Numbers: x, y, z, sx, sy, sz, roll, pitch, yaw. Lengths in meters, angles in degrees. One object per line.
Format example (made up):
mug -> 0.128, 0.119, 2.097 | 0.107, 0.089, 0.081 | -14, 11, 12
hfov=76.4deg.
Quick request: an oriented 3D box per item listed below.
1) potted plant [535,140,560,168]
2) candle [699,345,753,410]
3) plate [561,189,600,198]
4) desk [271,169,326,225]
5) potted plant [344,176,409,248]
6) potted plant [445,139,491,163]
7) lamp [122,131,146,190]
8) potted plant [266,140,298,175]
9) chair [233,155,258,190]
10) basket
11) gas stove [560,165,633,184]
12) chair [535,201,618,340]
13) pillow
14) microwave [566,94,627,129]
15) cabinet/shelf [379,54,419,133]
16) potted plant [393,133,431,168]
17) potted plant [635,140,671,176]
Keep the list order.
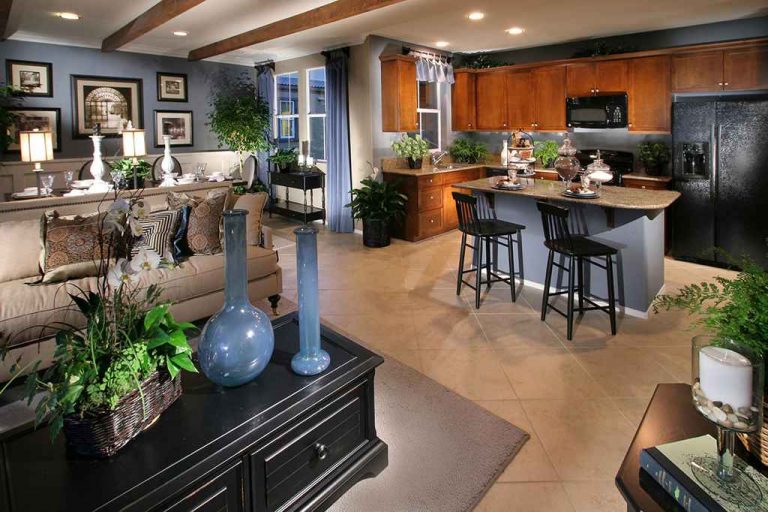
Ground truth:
potted plant -> 2.463, -1.506, 7.530 | 0.450, 0.533, 0.553 | 2, 7, 19
candle -> 1.270, 0.467, 1.826 | 0.184, 0.196, 0.180 | 1, 13, 1
plate -> 1.810, -0.585, 4.570 | 0.367, 0.062, 0.231 | 9, 17, 42
desk -> -1.553, -1.071, 8.480 | 0.440, 0.788, 1.140 | -14, 21, -43
potted plant -> -0.307, -0.668, 7.322 | 1.049, 1.004, 0.982 | -1, 5, -19
potted plant -> 1.425, -1.795, 8.319 | 0.678, 0.393, 0.438 | 0, 13, 11
lamp -> -3.150, -1.164, 6.159 | 0.331, 0.833, 0.325 | -6, 16, -29
potted plant -> -1.804, -1.722, 8.642 | 0.717, 0.467, 0.707 | -1, 2, -37
chair -> -2.474, -1.494, 8.639 | 0.382, 0.581, 0.765 | -6, 13, -16
basket -> -1.234, 0.668, 2.392 | 0.364, 0.234, 0.558 | 7, 18, 24
gas stove -> 2.365, -0.909, 5.411 | 0.506, 0.251, 0.843 | -4, 8, -27
chair -> 1.809, 0.049, 4.541 | 0.708, 1.159, 1.013 | 4, 14, 24
pillow -> -2.052, -0.213, 4.408 | 1.071, 0.822, 1.594 | 6, 7, 41
microwave -> 3.117, -2.140, 7.089 | 0.816, 0.517, 0.520 | 12, 39, 39
cabinet/shelf -> 0.234, -2.425, 7.328 | 0.379, 1.075, 0.527 | 10, 18, 43
potted plant -> 0.452, -1.522, 7.535 | 0.523, 0.590, 0.634 | 2, 4, 27
potted plant -> 3.612, -1.303, 6.538 | 0.369, 0.389, 0.339 | -11, 9, -43
